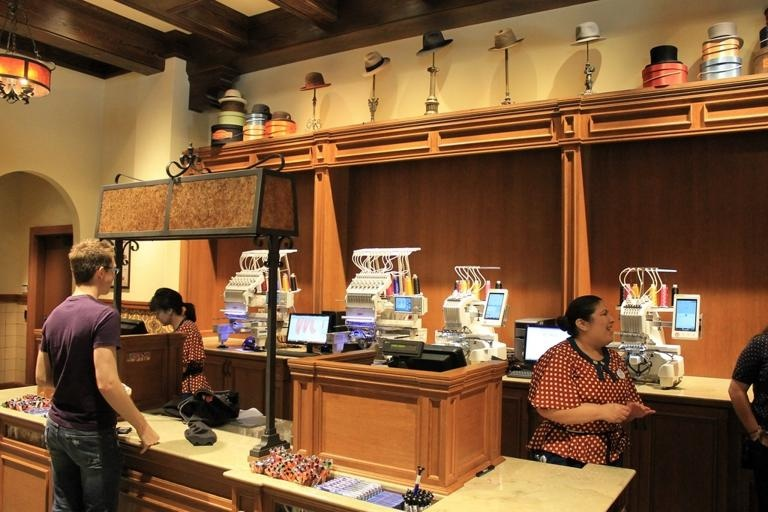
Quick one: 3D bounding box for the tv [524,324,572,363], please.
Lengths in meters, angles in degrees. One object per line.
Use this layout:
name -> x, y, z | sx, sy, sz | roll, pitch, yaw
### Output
tv -> 1.549, 0.841, 5.489 | 0.446, 0.386, 0.168 | 3, -2, -7

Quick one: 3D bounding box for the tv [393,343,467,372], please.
tv -> 0.269, 0.642, 3.722 | 0.487, 0.164, 0.267 | -2, 0, 5

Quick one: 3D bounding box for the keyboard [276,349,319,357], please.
keyboard -> -0.994, 1.073, 6.567 | 0.431, 0.026, 0.721 | -2, 0, -16

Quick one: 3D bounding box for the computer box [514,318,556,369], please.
computer box -> 1.478, 0.811, 5.776 | 0.316, 0.525, 0.516 | -5, -9, 41

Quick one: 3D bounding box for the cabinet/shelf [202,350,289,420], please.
cabinet/shelf -> -1.566, 1.426, 6.695 | 1.349, 0.774, 0.226 | -2, 0, 38

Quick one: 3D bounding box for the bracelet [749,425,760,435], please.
bracelet -> 2.586, 1.201, 4.066 | 0.055, 0.052, 0.050 | 15, 3, -28

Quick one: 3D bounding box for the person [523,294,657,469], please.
person -> 1.337, 0.824, 3.866 | 0.776, 1.115, 0.387 | -2, 0, 12

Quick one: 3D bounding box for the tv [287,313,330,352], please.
tv -> -0.868, 0.894, 6.776 | 0.661, 0.462, 0.151 | -3, -6, 39
